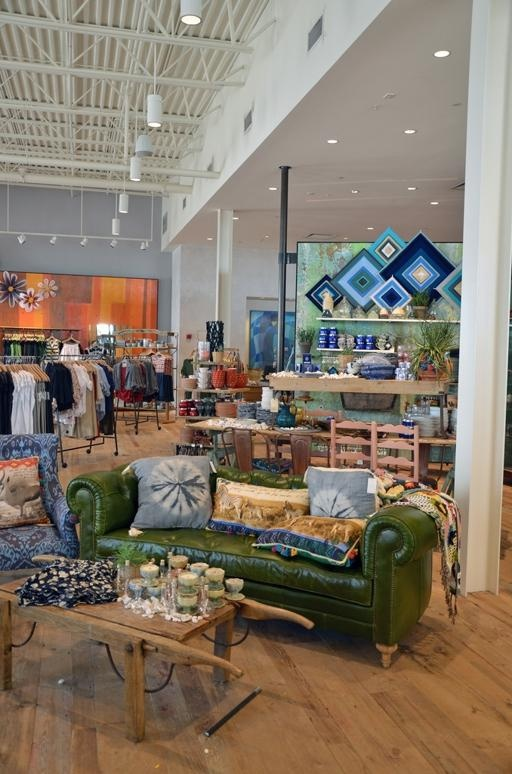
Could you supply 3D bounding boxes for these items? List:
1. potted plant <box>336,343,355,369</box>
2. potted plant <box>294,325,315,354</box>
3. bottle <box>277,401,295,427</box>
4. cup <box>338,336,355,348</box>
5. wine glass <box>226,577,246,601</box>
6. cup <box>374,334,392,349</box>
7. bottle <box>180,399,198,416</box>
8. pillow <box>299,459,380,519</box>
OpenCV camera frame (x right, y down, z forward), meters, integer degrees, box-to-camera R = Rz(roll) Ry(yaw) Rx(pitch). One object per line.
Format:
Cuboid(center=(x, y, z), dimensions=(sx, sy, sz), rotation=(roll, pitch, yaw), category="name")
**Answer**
Cuboid(center=(1.114, -0.386, 7.236), dimensions=(0.296, 0.354, 0.307), rotation=(2, 10, 9), category="potted plant")
Cuboid(center=(0.614, -0.662, 7.881), dimensions=(0.321, 0.420, 0.338), rotation=(3, 9, 14), category="potted plant")
Cuboid(center=(0.282, 0.272, 5.301), dimensions=(0.173, 0.224, 0.157), rotation=(1, -4, 0), category="bottle")
Cuboid(center=(1.246, -0.623, 7.754), dimensions=(0.170, 0.150, 0.175), rotation=(2, -8, 0), category="cup")
Cuboid(center=(-0.083, 0.834, 2.294), dimensions=(0.081, 0.078, 0.081), rotation=(-1, 3, 2), category="wine glass")
Cuboid(center=(1.740, -0.609, 7.678), dimensions=(0.231, 0.238, 0.155), rotation=(2, 2, 18), category="cup")
Cuboid(center=(-0.801, 0.244, 6.563), dimensions=(0.178, 0.183, 0.182), rotation=(-1, 8, -6), category="bottle")
Cuboid(center=(0.420, 0.587, 2.931), dimensions=(0.386, 0.297, 0.148), rotation=(-1, 5, 30), category="pillow")
